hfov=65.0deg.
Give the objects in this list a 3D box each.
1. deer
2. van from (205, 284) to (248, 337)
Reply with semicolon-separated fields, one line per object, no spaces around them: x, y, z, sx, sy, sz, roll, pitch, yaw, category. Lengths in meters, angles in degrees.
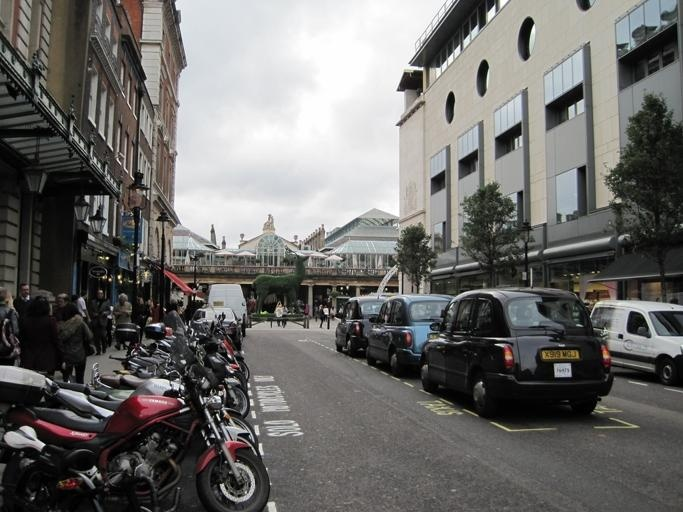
-6.265;3.011;55.181;4.871;8.006;3.678;1;0;-19;deer
-6.427;2.919;30.285;2.078;2.835;4.540;0;-1;-7;van
